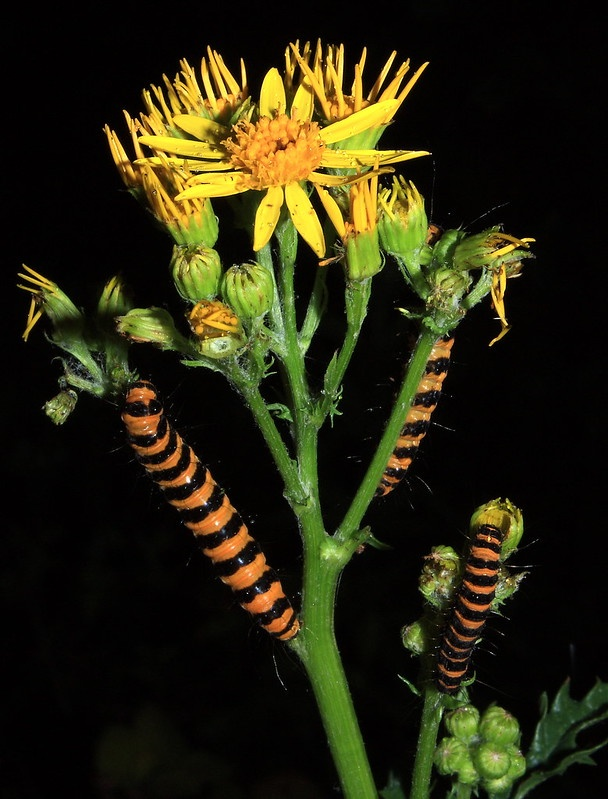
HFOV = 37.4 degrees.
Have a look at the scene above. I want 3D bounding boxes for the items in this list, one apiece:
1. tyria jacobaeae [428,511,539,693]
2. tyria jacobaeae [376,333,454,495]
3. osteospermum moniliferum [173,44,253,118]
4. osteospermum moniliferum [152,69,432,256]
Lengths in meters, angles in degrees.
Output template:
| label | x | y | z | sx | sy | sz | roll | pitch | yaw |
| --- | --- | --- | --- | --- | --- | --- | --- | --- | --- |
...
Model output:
| label | x | y | z | sx | sy | sz | roll | pitch | yaw |
| --- | --- | --- | --- | --- | --- | --- | --- | --- | --- |
| tyria jacobaeae | 0.640 | 0.773 | 3.318 | 0.283 | 0.778 | 0.301 | 5 | 13 | 7 |
| tyria jacobaeae | 0.426 | 0.021 | 3.712 | 0.172 | 0.821 | 0.162 | 22 | 16 | -2 |
| osteospermum moniliferum | -0.345 | -1.127 | 3.328 | 0.198 | 0.260 | 0.177 | -8 | 0 | -16 |
| osteospermum moniliferum | -0.081 | -0.817 | 3.061 | 0.904 | 0.623 | 0.453 | 4 | 13 | 6 |
